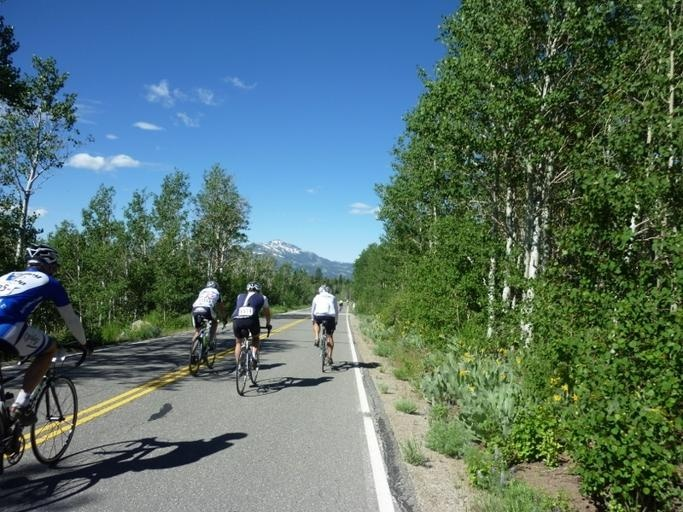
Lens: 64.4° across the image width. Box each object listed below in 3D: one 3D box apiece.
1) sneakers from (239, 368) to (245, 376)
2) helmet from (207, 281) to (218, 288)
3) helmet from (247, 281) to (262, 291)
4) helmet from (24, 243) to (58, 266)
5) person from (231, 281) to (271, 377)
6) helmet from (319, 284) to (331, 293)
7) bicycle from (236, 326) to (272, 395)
[{"bbox_3d":[-2.115,2.449,11.328,0.147,0.095,0.200,11,-2,-13],"label":"sneakers"},{"bbox_3d":[-3.181,0.692,13.252,0.189,0.214,0.174,4,-12,-44],"label":"helmet"},{"bbox_3d":[-1.997,0.760,12.228,0.250,0.302,0.236,-4,14,-27],"label":"helmet"},{"bbox_3d":[-4.433,-0.037,7.947,0.290,0.424,0.372,10,15,35],"label":"helmet"},{"bbox_3d":[-2.123,1.160,12.448,0.675,1.574,2.088,-1,23,-8],"label":"person"},{"bbox_3d":[-0.446,0.845,13.478,0.200,0.225,0.258,7,8,-2],"label":"helmet"},{"bbox_3d":[-1.828,2.360,11.860,0.513,0.991,1.443,0,2,-1],"label":"bicycle"}]
